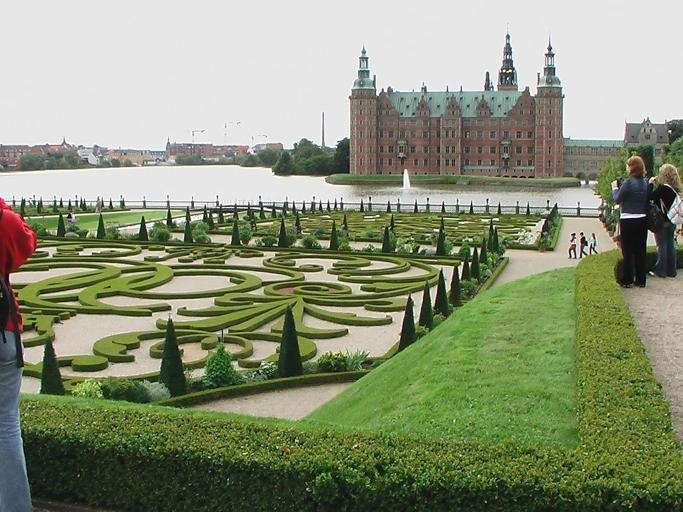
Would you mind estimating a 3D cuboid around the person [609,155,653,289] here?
[{"bbox_3d":[4.087,-0.471,10.734,0.505,1.862,0.371,-8,8,-1],"label":"person"}]
